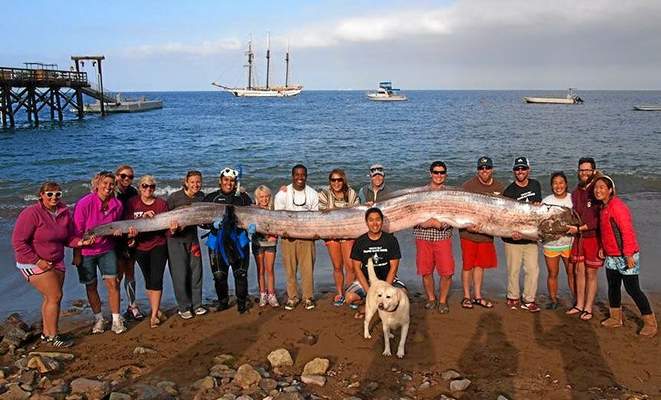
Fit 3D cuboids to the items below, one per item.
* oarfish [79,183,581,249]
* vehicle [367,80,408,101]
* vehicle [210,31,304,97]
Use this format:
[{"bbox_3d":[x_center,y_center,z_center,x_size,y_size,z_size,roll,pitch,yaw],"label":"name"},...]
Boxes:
[{"bbox_3d":[0.007,0.343,10.423,7.919,1.083,0.935,-1,-28,4],"label":"oarfish"},{"bbox_3d":[14.411,-28.133,130.025,7.688,4.684,13.913,2,15,20],"label":"vehicle"},{"bbox_3d":[-19.777,-35.529,137.043,26.807,14.373,6.202,-6,24,-28],"label":"vehicle"}]
